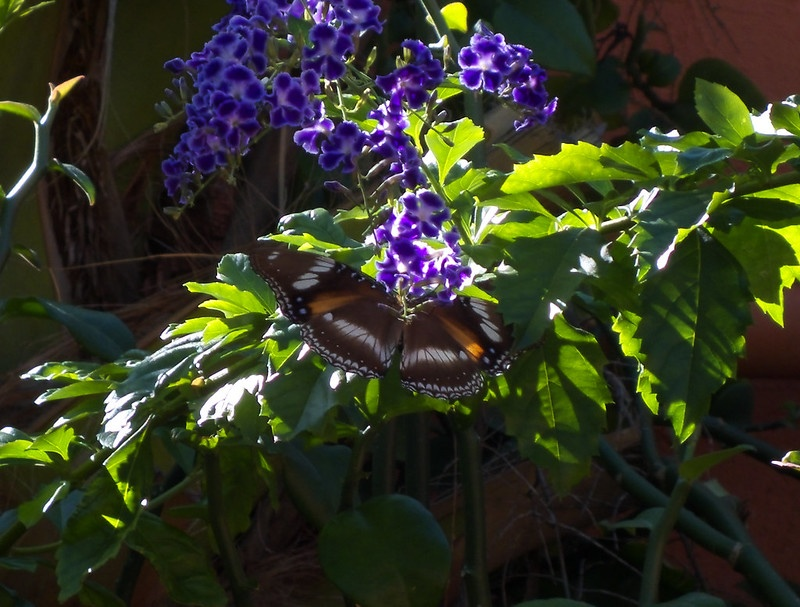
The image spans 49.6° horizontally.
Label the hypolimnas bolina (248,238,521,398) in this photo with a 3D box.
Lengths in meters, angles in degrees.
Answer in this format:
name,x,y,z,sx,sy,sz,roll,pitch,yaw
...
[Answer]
name,x,y,z,sx,sy,sz,roll,pitch,yaw
hypolimnas bolina,-0.020,-0.004,1.212,0.356,0.212,0.260,-3,6,-17
